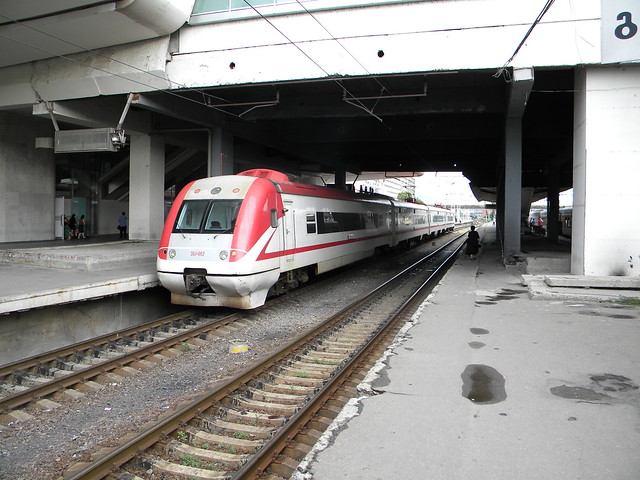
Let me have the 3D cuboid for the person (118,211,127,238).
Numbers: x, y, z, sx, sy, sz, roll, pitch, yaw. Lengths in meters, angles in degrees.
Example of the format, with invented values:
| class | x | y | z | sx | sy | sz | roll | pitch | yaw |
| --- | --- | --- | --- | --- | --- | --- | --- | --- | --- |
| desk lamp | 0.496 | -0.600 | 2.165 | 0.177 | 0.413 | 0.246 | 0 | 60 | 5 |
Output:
| class | x | y | z | sx | sy | sz | roll | pitch | yaw |
| --- | --- | --- | --- | --- | --- | --- | --- | --- | --- |
| person | -10.852 | -0.792 | 22.593 | 0.422 | 1.317 | 1.636 | -8 | 6 | -27 |

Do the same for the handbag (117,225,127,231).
| class | x | y | z | sx | sy | sz | roll | pitch | yaw |
| --- | --- | --- | --- | --- | --- | --- | --- | --- | --- |
| handbag | -10.943 | -0.685 | 22.905 | 0.583 | 0.239 | 0.664 | 0 | 0 | -8 |
